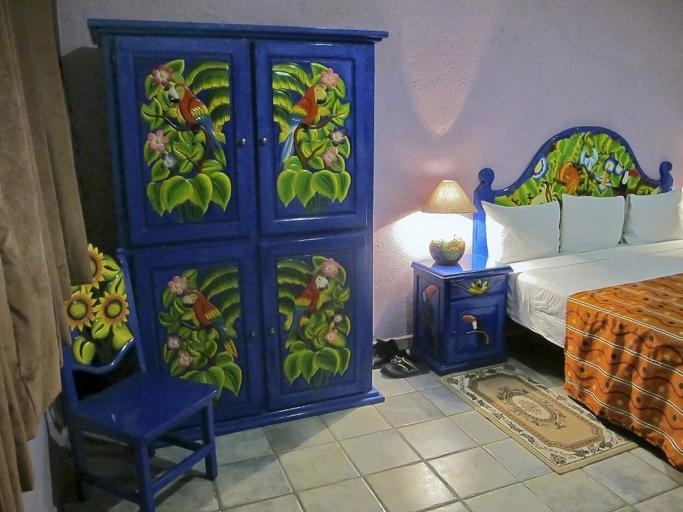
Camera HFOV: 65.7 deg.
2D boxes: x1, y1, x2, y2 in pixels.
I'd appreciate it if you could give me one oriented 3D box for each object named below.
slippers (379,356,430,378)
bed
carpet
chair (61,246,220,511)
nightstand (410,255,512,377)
[{"bbox_3d":[0.443,0.787,3.701,0.236,0.083,0.148,0,9,-8],"label":"slippers"},{"bbox_3d":[1.831,0.001,4.479,1.937,1.390,1.005,-4,8,-23],"label":"bed"},{"bbox_3d":[1.191,0.966,3.182,0.621,0.043,0.910,-9,18,-22],"label":"carpet"},{"bbox_3d":[-0.995,0.622,2.534,0.557,1.150,0.537,8,19,32],"label":"chair"},{"bbox_3d":[0.800,0.331,3.891,0.756,0.902,0.699,-4,9,-20],"label":"nightstand"}]
